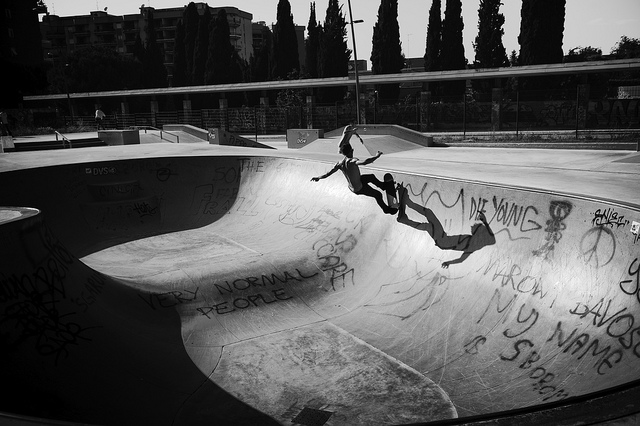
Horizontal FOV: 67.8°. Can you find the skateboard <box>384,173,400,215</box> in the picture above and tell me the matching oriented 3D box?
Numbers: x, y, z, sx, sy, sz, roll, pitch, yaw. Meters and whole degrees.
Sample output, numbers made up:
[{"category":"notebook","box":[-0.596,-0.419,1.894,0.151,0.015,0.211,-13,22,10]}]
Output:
[{"category":"skateboard","box":[1.685,-0.432,11.092,0.263,1.042,0.140,-12,5,37]}]
